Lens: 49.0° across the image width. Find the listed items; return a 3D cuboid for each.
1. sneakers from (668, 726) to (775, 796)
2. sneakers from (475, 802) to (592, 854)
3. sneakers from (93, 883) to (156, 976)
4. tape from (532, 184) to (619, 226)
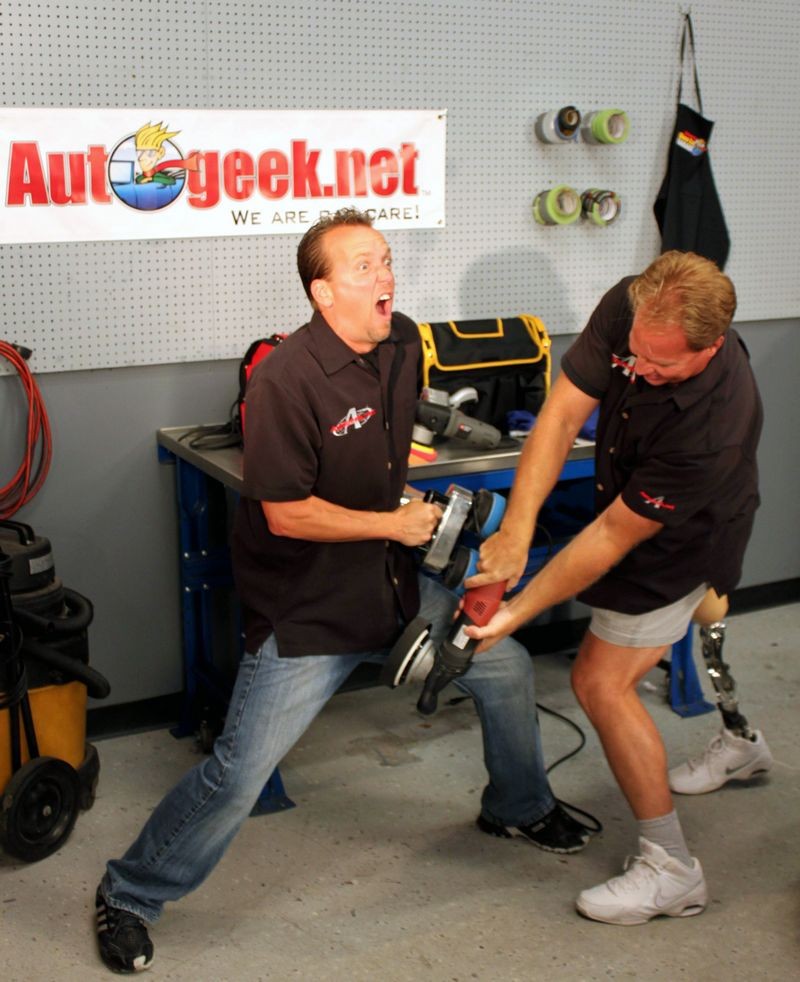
[{"bbox_3d":[0.876,0.736,2.381,0.300,0.133,0.096,-19,25,11],"label":"sneakers"},{"bbox_3d":[0.320,0.776,2.108,0.260,0.103,0.099,2,9,21],"label":"sneakers"},{"bbox_3d":[-0.528,0.835,1.696,0.068,0.074,0.177,4,14,-39],"label":"sneakers"},{"bbox_3d":[0.602,-0.963,2.971,0.273,0.138,0.098,-6,12,-20],"label":"tape"}]
